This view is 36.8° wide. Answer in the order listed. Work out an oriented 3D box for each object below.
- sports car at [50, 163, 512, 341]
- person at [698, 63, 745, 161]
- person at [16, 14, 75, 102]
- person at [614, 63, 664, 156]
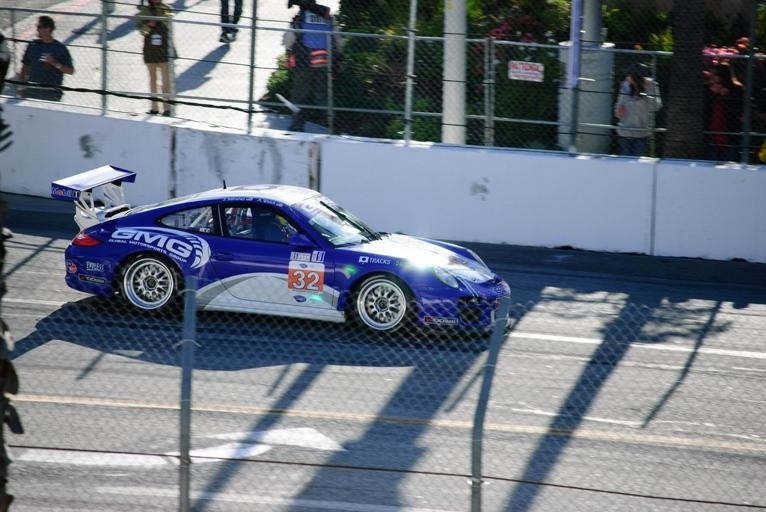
[{"bbox_3d":[-1.397,-0.052,14.522,5.689,1.144,2.218,4,9,0],"label":"sports car"},{"bbox_3d":[5.005,-2.168,17.242,0.446,1.448,0.867,4,10,-17],"label":"person"},{"bbox_3d":[-5.243,-3.075,17.819,0.887,1.295,0.218,7,10,8],"label":"person"},{"bbox_3d":[3.760,-2.173,17.170,0.674,1.358,0.365,9,11,16],"label":"person"}]
